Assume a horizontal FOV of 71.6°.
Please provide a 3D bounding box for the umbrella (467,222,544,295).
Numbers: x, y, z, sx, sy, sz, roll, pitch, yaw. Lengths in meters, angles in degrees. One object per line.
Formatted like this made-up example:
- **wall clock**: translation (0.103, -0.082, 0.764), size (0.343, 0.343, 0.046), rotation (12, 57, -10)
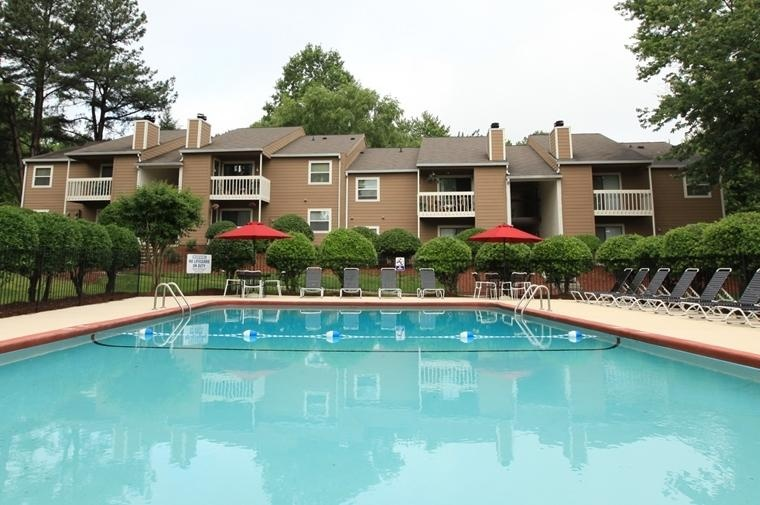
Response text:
- **umbrella**: translation (5.171, -0.063, 22.233), size (2.291, 2.321, 2.768), rotation (0, 0, 10)

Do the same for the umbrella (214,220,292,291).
- **umbrella**: translation (-5.616, 0.080, 22.915), size (3.254, 2.767, 3.169), rotation (0, -2, -43)
